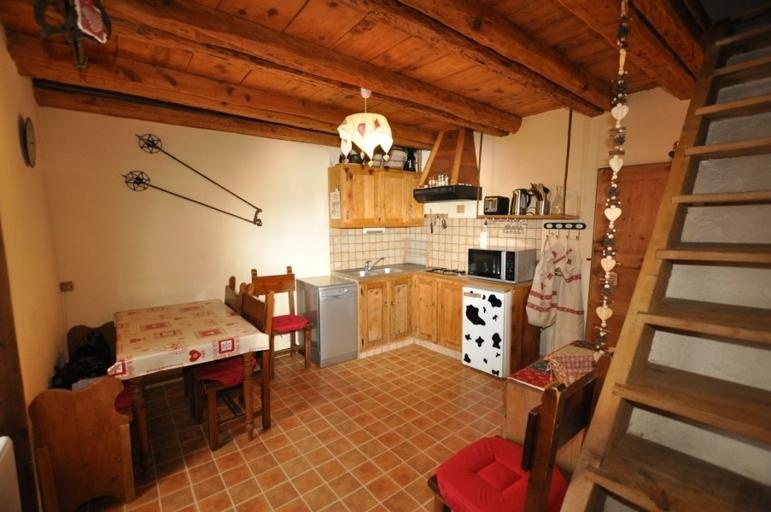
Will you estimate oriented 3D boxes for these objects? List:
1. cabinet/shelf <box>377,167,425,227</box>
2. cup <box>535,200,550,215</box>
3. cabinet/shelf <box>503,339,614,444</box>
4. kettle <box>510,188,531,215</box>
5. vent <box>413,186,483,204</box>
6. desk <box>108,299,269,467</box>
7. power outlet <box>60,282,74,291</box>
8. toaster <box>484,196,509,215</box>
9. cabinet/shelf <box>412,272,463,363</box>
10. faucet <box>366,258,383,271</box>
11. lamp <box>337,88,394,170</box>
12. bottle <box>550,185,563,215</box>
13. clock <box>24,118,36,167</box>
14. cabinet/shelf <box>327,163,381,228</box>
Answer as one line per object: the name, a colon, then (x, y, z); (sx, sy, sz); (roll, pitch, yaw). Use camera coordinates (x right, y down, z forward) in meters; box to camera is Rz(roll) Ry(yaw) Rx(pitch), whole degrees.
cabinet/shelf: (0.169, -0.766, 6.330); (0.794, 0.712, 0.273); (-3, 9, -33)
cup: (1.652, -0.503, 5.175); (0.152, 0.152, 0.140); (1, 13, 0)
cabinet/shelf: (1.173, 0.936, 3.324); (0.890, 0.505, 0.341); (-12, 22, -32)
kettle: (1.469, -0.580, 5.351); (0.226, 0.286, 0.150); (3, 8, 20)
vent: (0.701, -0.753, 5.930); (0.775, 0.177, 0.380); (6, 8, 39)
desk: (-1.738, 0.783, 4.357); (1.175, 0.853, 1.645); (-7, 17, -35)
power outlet: (-3.027, 0.297, 4.664); (0.090, 0.083, 0.024); (4, 3, -43)
toaster: (1.256, -0.549, 5.591); (0.243, 0.233, 0.232); (-1, 5, -22)
cabinet/shelf: (0.642, 0.739, 5.901); (0.422, 0.910, 0.997); (-2, 5, -35)
faucet: (-0.140, 0.111, 6.588); (0.131, 0.147, 0.411); (5, 8, 32)
lamp: (-0.166, -1.210, 4.355); (0.376, 0.542, 0.381); (-2, -3, 28)
bottle: (1.807, -0.588, 5.169); (0.164, 0.302, 0.106); (7, 10, 39)
clock: (-2.962, -0.944, 4.083); (0.060, 0.425, 0.377); (-4, 8, -31)
cabinet/shelf: (-0.400, -0.751, 5.995); (0.814, 0.782, 0.409); (-2, 3, -40)
